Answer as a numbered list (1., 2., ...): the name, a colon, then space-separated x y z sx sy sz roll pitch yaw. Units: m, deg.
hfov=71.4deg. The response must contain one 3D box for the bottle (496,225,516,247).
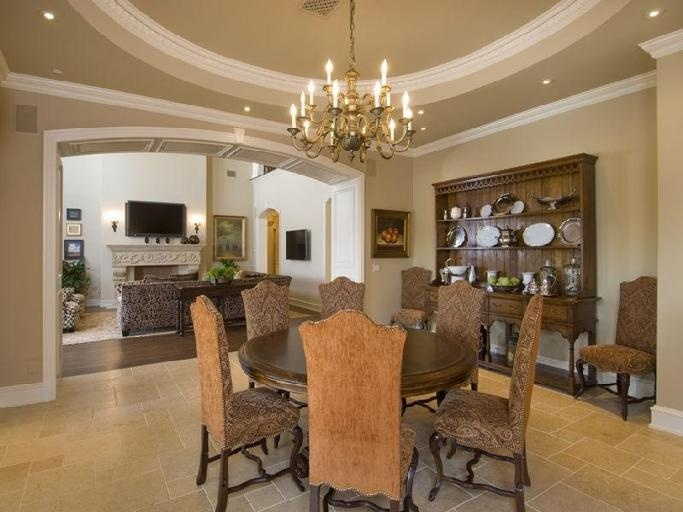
1. bottle: 2.142 -0.270 6.199 0.205 0.256 0.273 -3 3 -9

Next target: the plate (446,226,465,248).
1. plate: 1.675 -0.268 6.957 0.065 0.288 0.283 11 35 -33

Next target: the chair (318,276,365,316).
1. chair: 0.013 0.490 5.692 0.393 0.633 0.482 0 -5 2

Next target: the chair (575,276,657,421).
1. chair: 2.933 0.927 5.087 0.739 1.418 0.728 2 3 39

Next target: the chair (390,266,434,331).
1. chair: 1.008 0.751 7.127 0.608 1.111 0.694 0 4 15

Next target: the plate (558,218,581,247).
1. plate: 2.703 -0.288 5.607 0.154 0.333 0.361 0 2 -4

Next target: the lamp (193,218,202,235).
1. lamp: -3.555 -0.710 11.800 0.255 0.384 0.137 -1 3 -26

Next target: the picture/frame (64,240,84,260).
1. picture/frame: -6.000 -0.139 10.660 0.380 0.561 0.019 2 -1 -31

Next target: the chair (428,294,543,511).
1. chair: 1.164 1.114 3.872 0.786 1.658 0.660 1 3 21

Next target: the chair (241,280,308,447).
1. chair: -0.653 0.829 4.711 0.616 1.157 0.681 -16 -6 10

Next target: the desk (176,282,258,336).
1. desk: -2.073 1.039 8.219 1.410 0.784 0.377 12 -10 -23

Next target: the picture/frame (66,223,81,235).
1. picture/frame: -6.011 -0.594 10.670 0.243 0.269 0.016 2 -5 -41

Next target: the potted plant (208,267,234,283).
1. potted plant: -2.184 0.357 8.626 0.301 0.226 0.319 1 1 12

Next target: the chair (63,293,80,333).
1. chair: -4.556 0.982 8.028 0.185 0.295 0.642 -1 5 -25

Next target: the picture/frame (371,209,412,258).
1. picture/frame: 0.729 -0.350 7.359 0.685 0.765 0.051 2 -3 -38

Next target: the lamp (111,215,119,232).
1. lamp: -5.114 -0.709 10.797 0.156 0.320 0.060 -2 3 -43

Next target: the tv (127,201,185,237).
1. tv: -4.352 -0.856 11.234 1.271 0.983 0.139 -1 27 -28
